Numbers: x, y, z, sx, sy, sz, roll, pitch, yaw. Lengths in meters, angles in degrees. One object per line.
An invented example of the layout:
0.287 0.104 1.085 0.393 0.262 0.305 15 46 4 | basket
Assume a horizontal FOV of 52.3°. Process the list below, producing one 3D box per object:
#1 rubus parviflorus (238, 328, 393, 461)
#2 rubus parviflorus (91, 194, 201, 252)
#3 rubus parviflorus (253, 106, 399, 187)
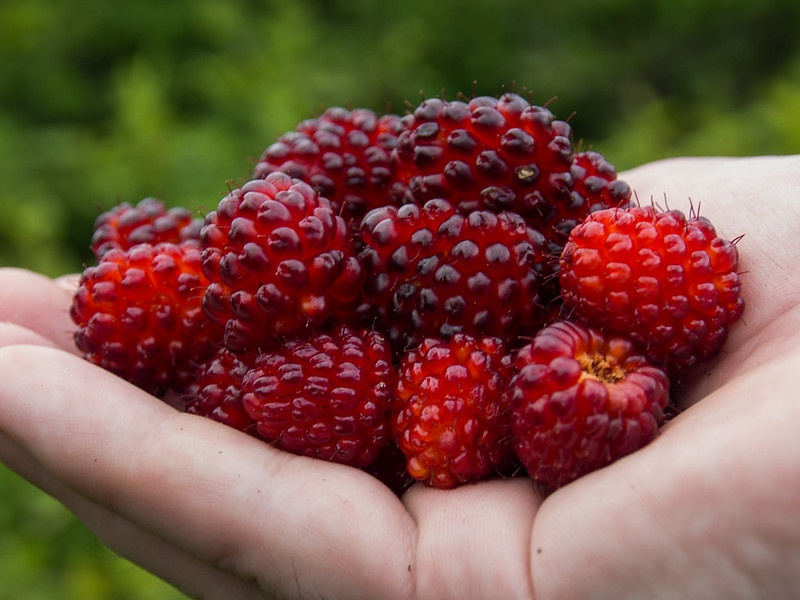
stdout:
-0.179 0.168 1.701 0.350 0.219 0.258 -8 6 -24 | rubus parviflorus
-0.616 -0.180 1.950 0.202 0.117 0.151 -7 6 -14 | rubus parviflorus
-0.155 -0.354 1.841 0.286 0.185 0.166 -19 67 7 | rubus parviflorus
